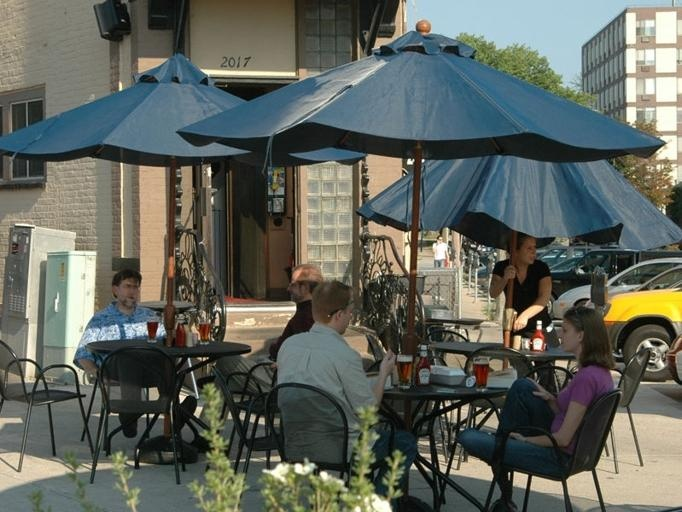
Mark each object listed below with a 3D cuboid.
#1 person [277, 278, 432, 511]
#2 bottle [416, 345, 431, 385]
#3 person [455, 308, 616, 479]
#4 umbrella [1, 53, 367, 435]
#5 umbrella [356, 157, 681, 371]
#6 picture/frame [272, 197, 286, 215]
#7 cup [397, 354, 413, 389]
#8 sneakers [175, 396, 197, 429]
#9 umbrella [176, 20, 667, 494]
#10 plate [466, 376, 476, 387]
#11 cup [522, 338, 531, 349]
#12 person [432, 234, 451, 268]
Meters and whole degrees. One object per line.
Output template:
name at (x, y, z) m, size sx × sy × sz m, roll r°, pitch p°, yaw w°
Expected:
person at (0.071, 1.229, 9.283) m, size 1.223 × 2.038 × 0.744 m, roll 1°, pitch -2°, yaw -10°
bottle at (0.735, 0.960, 9.684) m, size 0.153 × 0.406 × 0.102 m, roll -4°, pitch 20°, yaw -6°
person at (1.759, 1.137, 9.488) m, size 1.195 × 1.400 × 0.665 m, roll 1°, pitch -2°, yaw 2°
umbrella at (-2.147, -0.385, 12.106) m, size 3.136 × 2.752 × 3.151 m, roll -2°, pitch 5°, yaw -39°
umbrella at (2.104, 0.080, 12.015) m, size 2.224 × 1.197 × 2.280 m, roll 3°, pitch 4°, yaw -22°
picture/frame at (-1.006, -0.824, 17.655) m, size 0.185 × 0.280 × 0.272 m, roll 0°, pitch -2°, yaw 6°
cup at (0.537, 0.998, 9.522) m, size 0.161 × 0.285 × 0.172 m, roll 3°, pitch -2°, yaw 0°
sneakers at (-1.648, 1.659, 11.954) m, size 0.201 × 0.252 × 0.205 m, roll 29°, pitch -20°, yaw -29°
umbrella at (0.476, -0.162, 9.967) m, size 3.206 × 2.618 × 3.333 m, roll 0°, pitch 5°, yaw -18°
plate at (1.146, 1.111, 9.668) m, size 0.063 × 0.094 × 0.026 m, roll 7°, pitch -12°, yaw 32°
cup at (1.961, 0.926, 11.519) m, size 0.082 × 0.106 × 0.086 m, roll 1°, pitch -2°, yaw 0°
person at (2.908, 0.069, 31.697) m, size 0.444 × 1.359 × 0.376 m, roll 1°, pitch -2°, yaw 6°
